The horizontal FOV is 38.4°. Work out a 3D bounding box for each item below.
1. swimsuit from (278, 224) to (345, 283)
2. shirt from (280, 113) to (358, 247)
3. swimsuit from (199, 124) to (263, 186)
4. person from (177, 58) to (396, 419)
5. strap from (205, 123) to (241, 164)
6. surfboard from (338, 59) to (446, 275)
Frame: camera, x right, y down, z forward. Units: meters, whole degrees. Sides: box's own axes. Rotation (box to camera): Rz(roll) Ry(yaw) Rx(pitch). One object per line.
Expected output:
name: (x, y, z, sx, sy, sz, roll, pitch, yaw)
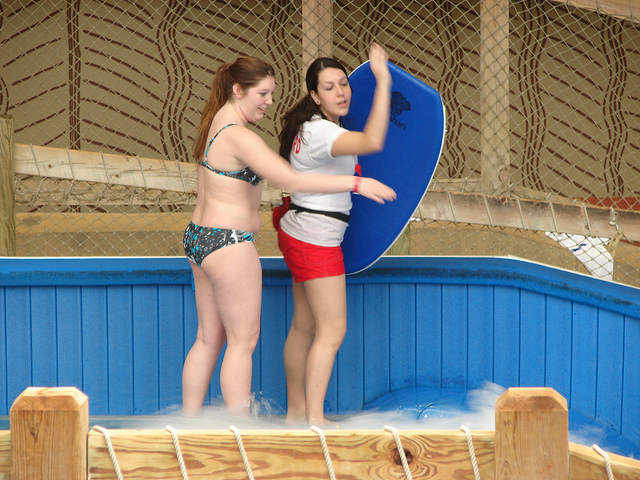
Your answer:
swimsuit: (-0.033, 0.102, 4.813, 0.223, 0.260, 0.338, -6, 1, -10)
shirt: (-0.006, -0.306, 4.751, 0.409, 0.469, 0.415, -1, 0, -2)
swimsuit: (-0.434, -0.396, 4.639, 0.270, 0.093, 0.280, 12, 24, -43)
person: (-0.359, 0.006, 4.690, 0.961, 1.844, 0.366, -1, -1, 43)
strap: (-0.508, -0.488, 4.716, 0.040, 0.163, 0.172, 14, 28, -42)
surfboard: (0.396, -0.329, 5.022, 0.671, 1.084, 0.131, 35, 25, 35)
